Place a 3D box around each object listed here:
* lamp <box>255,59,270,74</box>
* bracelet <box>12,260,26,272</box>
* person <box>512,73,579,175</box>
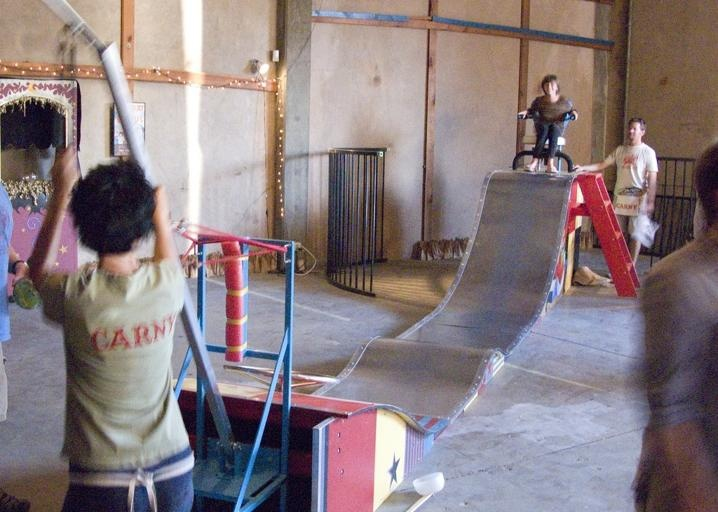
[{"bbox_3d":[-1.220,-2.386,9.005,0.131,0.192,0.199,3,12,7],"label":"lamp"},{"bbox_3d":[-1.471,0.047,3.054,0.052,0.022,0.046,-16,-9,41],"label":"bracelet"},{"bbox_3d":[2.376,-1.678,8.955,0.635,1.176,0.833,2,12,4],"label":"person"}]
